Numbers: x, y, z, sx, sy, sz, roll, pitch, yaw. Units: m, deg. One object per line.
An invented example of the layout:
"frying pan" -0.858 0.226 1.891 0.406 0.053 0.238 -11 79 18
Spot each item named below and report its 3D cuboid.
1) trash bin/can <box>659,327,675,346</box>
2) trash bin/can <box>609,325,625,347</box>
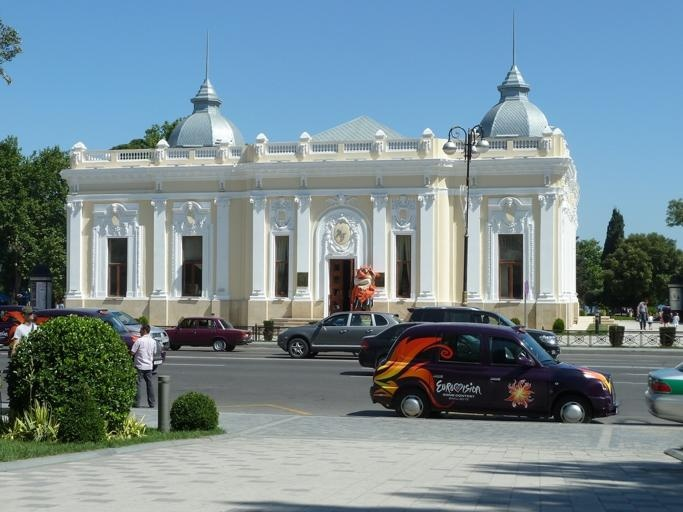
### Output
"trash bin/can" 13.828 3.453 51.800 0.760 0.795 0.751 1 0 16
"trash bin/can" 11.765 3.479 52.688 0.820 1.078 0.822 0 -4 18
